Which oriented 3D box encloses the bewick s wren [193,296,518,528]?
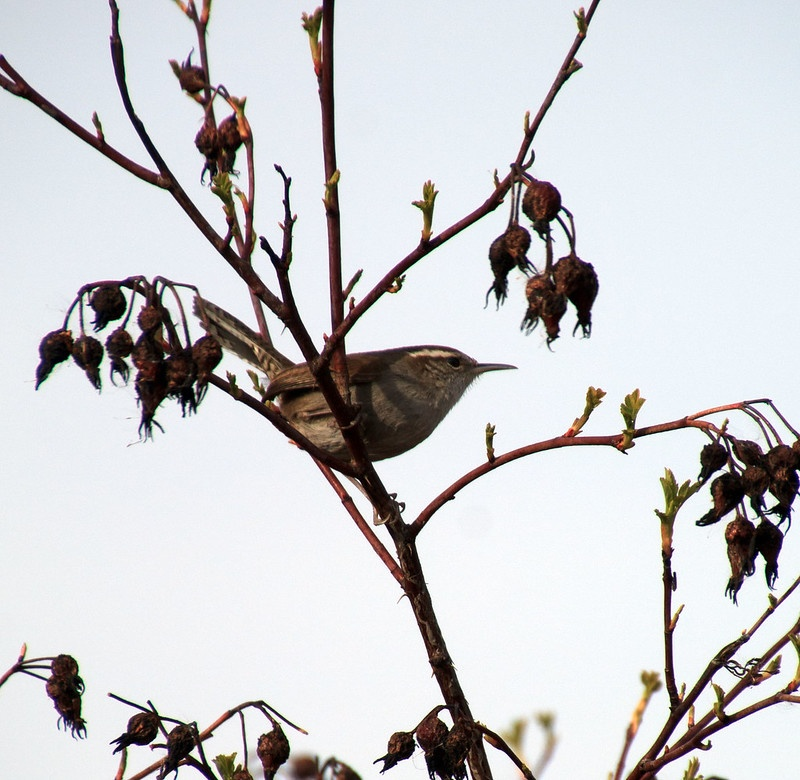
[{"bbox_3d":[-0.204,0.051,6.399,1.061,0.579,0.409,21,-22,8],"label":"bewick s wren"}]
